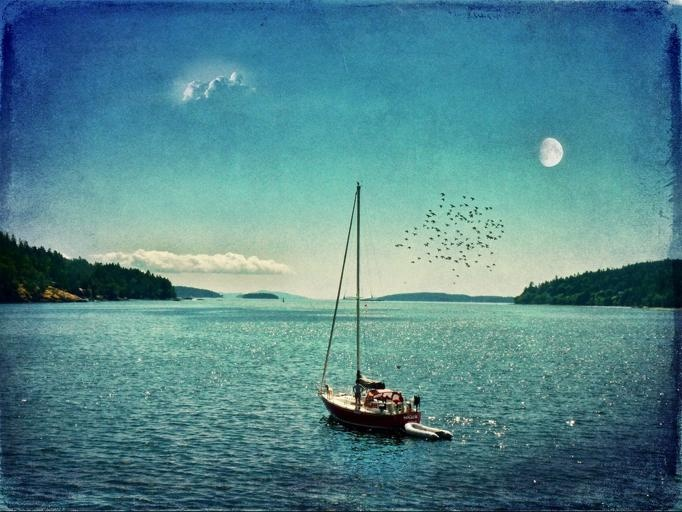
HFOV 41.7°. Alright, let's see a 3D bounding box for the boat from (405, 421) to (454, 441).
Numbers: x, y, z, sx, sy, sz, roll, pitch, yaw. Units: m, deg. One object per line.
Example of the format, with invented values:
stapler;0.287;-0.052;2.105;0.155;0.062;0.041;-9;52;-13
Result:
boat;9.462;19.087;97.591;3.404;0.904;2.108;1;-1;24
